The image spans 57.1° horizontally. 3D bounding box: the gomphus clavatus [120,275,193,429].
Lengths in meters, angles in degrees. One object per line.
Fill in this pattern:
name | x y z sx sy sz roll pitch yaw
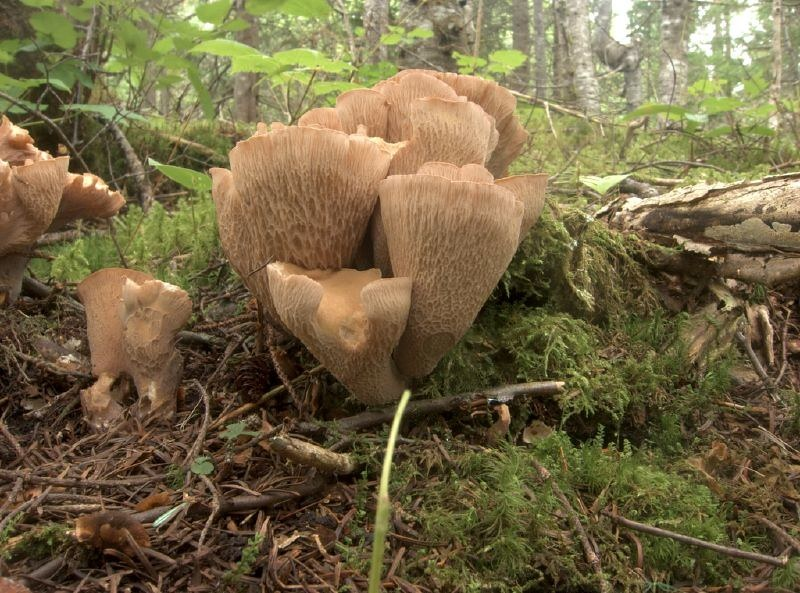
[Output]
gomphus clavatus | -1.636 0.350 4.899 0.436 0.888 0.278 2 16 -19
